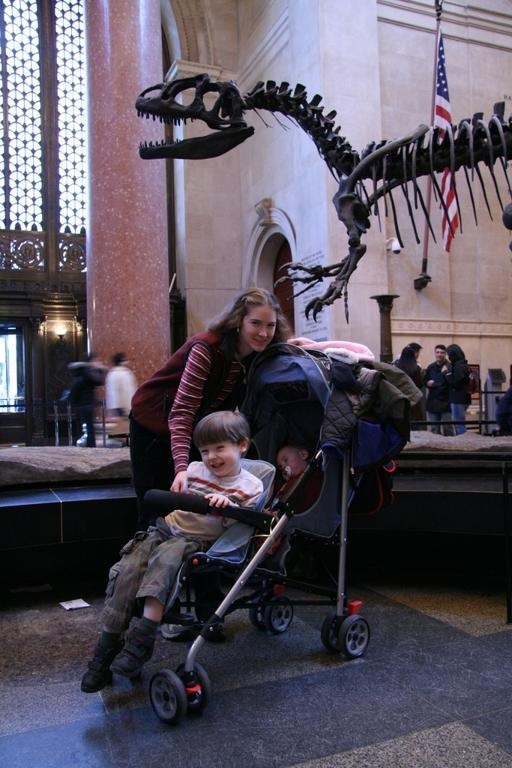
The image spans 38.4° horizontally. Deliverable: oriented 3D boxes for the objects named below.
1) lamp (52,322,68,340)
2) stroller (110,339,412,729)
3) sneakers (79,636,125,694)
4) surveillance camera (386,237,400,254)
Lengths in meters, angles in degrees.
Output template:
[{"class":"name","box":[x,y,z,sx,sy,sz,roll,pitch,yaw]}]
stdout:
[{"class":"lamp","box":[-3.195,-0.867,12.032,0.095,0.283,0.216,-6,1,32]},{"class":"stroller","box":[0.015,0.461,2.925,1.169,1.343,0.906,4,-6,-21]},{"class":"sneakers","box":[-0.455,0.840,2.240,0.085,0.110,0.246,2,3,16]},{"class":"surveillance camera","box":[1.833,-1.859,9.768,0.187,0.239,0.457,0,1,11]}]
